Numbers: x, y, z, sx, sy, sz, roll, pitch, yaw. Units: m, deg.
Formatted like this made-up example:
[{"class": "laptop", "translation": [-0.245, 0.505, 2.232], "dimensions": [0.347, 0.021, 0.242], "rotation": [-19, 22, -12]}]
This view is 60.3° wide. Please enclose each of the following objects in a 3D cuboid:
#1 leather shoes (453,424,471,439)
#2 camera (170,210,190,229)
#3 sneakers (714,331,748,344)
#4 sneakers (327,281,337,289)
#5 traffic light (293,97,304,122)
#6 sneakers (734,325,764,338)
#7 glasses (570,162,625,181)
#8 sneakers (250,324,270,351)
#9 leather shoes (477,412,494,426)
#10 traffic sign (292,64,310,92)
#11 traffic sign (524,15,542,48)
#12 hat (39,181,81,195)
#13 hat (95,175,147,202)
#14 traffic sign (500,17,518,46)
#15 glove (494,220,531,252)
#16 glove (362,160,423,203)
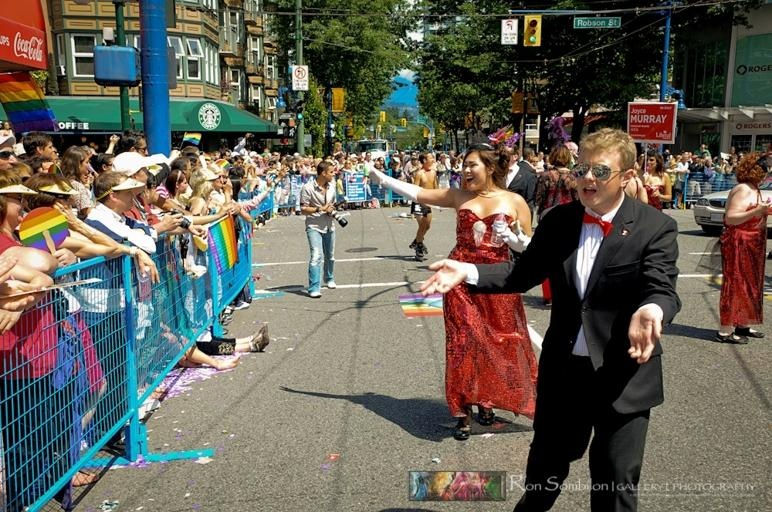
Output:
[{"class": "leather shoes", "translation": [0.691, 1.630, 6.129], "dimensions": [0.165, 0.108, 0.133], "rotation": [0, 12, 1]}, {"class": "camera", "translation": [-2.243, -0.395, 7.208], "dimensions": [0.265, 0.191, 0.101], "rotation": [26, 55, 32]}, {"class": "sneakers", "translation": [4.416, 1.061, 8.522], "dimensions": [0.310, 0.132, 0.162], "rotation": [-2, 11, 8]}, {"class": "sneakers", "translation": [-0.977, 0.513, 11.689], "dimensions": [0.093, 0.086, 0.203], "rotation": [-3, -4, -15]}, {"class": "traffic light", "translation": [-3.601, -6.066, 27.272], "dimensions": [0.321, 0.984, 1.075], "rotation": [-3, 13, -10]}, {"class": "sneakers", "translation": [4.725, 1.002, 8.728], "dimensions": [0.424, 0.169, 0.145], "rotation": [-3, 13, 0]}, {"class": "glasses", "translation": [1.395, -0.560, 4.392], "dimensions": [0.307, 0.108, 0.097], "rotation": [3, 13, 15]}, {"class": "sneakers", "translation": [-1.566, 1.053, 8.287], "dimensions": [0.155, 0.366, 0.124], "rotation": [9, 10, -14]}, {"class": "leather shoes", "translation": [0.954, 1.552, 6.416], "dimensions": [0.167, 0.135, 0.133], "rotation": [1, 13, 8]}, {"class": "traffic sign", "translation": [-3.536, -7.217, 26.824], "dimensions": [0.482, 1.039, 0.869], "rotation": [-8, 15, -32]}, {"class": "traffic sign", "translation": [4.677, -7.334, 21.471], "dimensions": [0.461, 0.853, 0.272], "rotation": [-1, 12, -1]}, {"class": "hat", "translation": [-2.783, -0.579, 5.639], "dimensions": [0.266, 0.073, 0.271], "rotation": [3, 6, 19]}, {"class": "hat", "translation": [-2.658, -0.696, 6.565], "dimensions": [0.361, 0.187, 0.266], "rotation": [4, 12, -20]}, {"class": "traffic sign", "translation": [4.397, -8.174, 23.944], "dimensions": [0.524, 0.846, 0.613], "rotation": [0, 12, 3]}, {"class": "glove", "translation": [1.169, -0.184, 6.277], "dimensions": [0.340, 0.341, 0.393], "rotation": [1, 13, 8]}, {"class": "glove", "translation": [0.044, -0.776, 6.829], "dimensions": [0.237, 0.267, 1.244], "rotation": [-8, 1, 29]}]
